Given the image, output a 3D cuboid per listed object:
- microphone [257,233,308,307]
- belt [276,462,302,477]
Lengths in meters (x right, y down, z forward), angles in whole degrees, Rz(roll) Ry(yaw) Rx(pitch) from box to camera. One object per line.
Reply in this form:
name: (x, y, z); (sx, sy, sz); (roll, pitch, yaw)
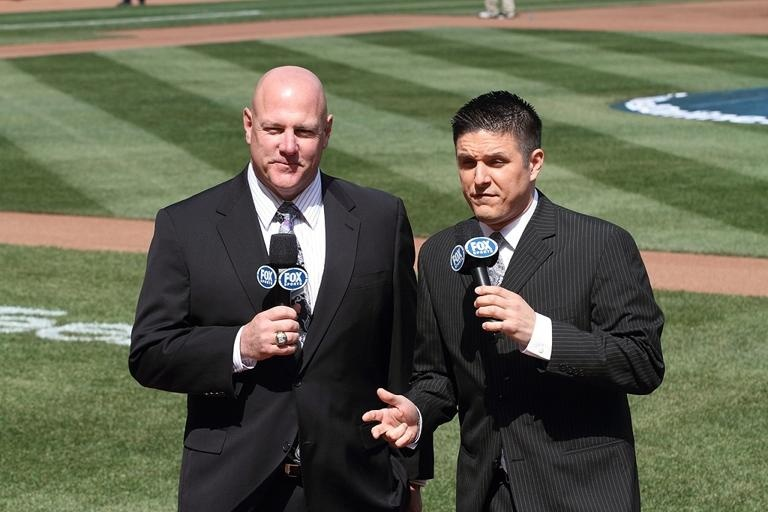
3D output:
microphone: (-0.652, 0.091, 7.063); (0.247, 0.512, 0.302); (-3, 12, -7)
belt: (-0.608, 1.388, 7.202); (0.090, 0.073, 0.120); (14, 14, 42)
